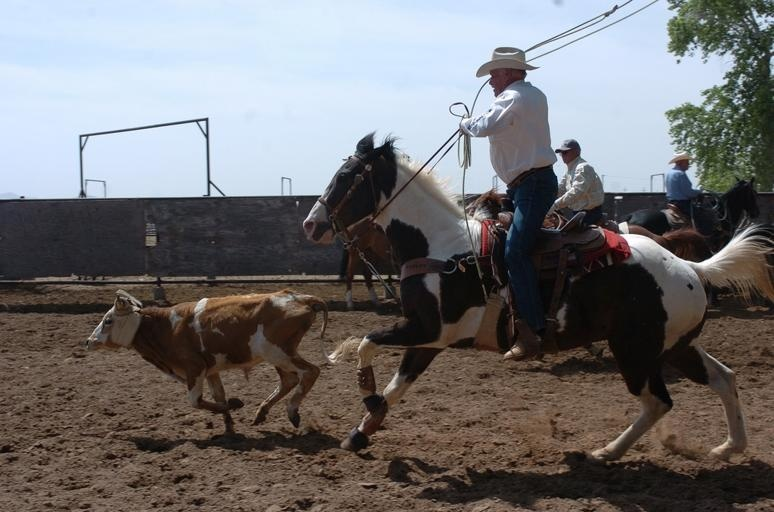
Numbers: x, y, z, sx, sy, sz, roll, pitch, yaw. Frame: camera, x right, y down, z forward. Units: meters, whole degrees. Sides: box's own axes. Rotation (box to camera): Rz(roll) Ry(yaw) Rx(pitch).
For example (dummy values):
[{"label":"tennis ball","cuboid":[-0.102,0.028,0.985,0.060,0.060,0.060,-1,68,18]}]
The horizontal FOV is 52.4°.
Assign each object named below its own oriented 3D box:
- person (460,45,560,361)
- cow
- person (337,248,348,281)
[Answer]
[{"label":"person","cuboid":[1.271,-0.540,7.991,0.847,3.116,1.246,0,17,10]},{"label":"cow","cuboid":[-2.089,1.223,9.422,3.378,1.488,0.927,-5,-13,23]},{"label":"person","cuboid":[-0.916,0.164,15.899,0.211,0.664,0.446,5,-8,6]}]
